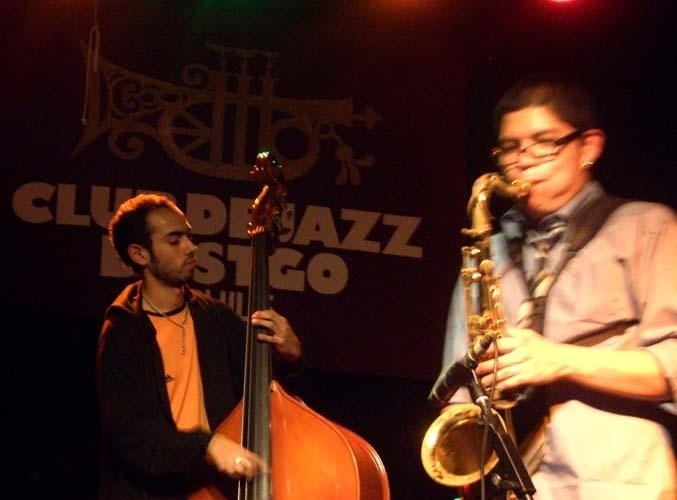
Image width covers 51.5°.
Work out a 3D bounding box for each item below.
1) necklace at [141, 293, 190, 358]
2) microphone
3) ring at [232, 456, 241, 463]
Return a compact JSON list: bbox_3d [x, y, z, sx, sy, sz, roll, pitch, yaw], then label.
[{"bbox_3d":[-0.833,0.413,3.482,0.207,0.312,0.079,-7,-21,-32],"label":"necklace"},{"bbox_3d":[0.556,0.533,3.095,0.111,0.139,0.531,-13,-20,-25],"label":"microphone"},{"bbox_3d":[-0.424,0.868,2.911,0.026,0.022,0.011,-4,-15,5],"label":"ring"}]
